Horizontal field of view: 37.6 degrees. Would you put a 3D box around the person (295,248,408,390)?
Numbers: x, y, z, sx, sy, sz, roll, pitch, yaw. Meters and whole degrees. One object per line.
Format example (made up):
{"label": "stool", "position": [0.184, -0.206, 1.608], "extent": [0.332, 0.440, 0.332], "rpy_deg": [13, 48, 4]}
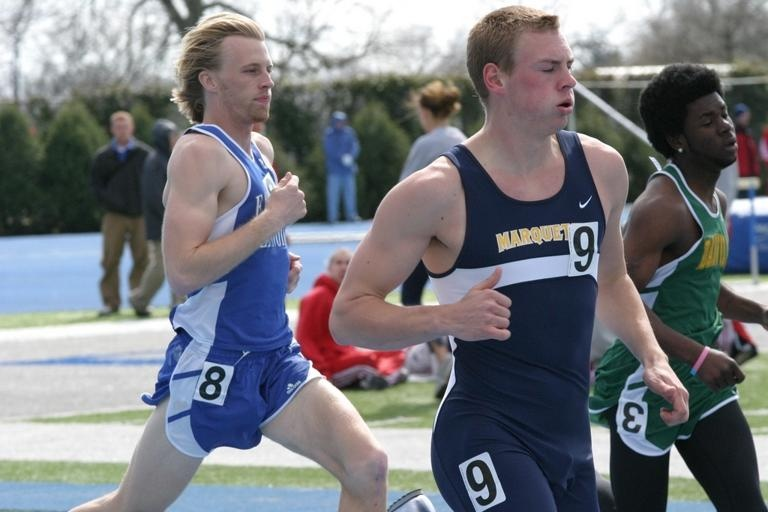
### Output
{"label": "person", "position": [-0.327, 0.497, 10.605], "extent": [1.118, 1.345, 1.309], "rpy_deg": [0, 4, -2]}

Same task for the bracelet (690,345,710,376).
{"label": "bracelet", "position": [1.573, 0.529, 5.641], "extent": [0.033, 0.115, 0.120], "rpy_deg": [30, -4, 12]}
